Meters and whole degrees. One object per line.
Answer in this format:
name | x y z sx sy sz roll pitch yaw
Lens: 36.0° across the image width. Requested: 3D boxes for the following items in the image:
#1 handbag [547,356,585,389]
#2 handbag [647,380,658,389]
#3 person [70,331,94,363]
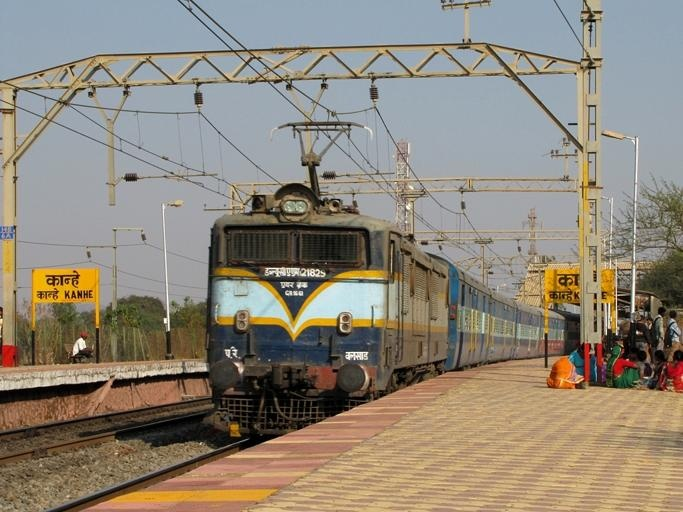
handbag | 5.139 2.678 23.885 0.956 0.387 0.737 7 31 -8
handbag | 7.119 2.939 23.945 0.262 0.256 0.150 0 -8 -2
person | -9.651 3.313 38.325 0.741 1.120 2.187 0 -6 -15
